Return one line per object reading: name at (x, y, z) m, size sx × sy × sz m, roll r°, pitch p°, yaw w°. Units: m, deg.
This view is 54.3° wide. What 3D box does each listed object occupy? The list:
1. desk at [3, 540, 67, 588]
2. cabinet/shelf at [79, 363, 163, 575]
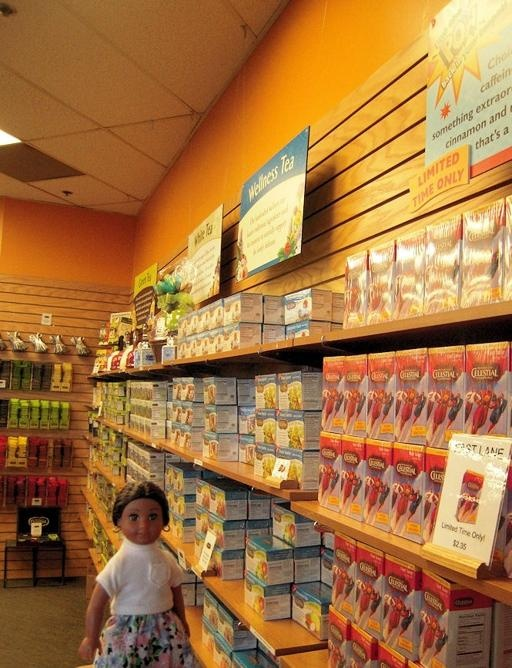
desk at (-2.700, 2.750, 6.072) m, size 0.749 × 0.610 × 0.569 m, roll 3°, pitch -4°, yaw -19°
cabinet/shelf at (-1.118, 1.062, 4.064) m, size 0.447 × 1.837 × 2.726 m, roll 2°, pitch -5°, yaw -17°
